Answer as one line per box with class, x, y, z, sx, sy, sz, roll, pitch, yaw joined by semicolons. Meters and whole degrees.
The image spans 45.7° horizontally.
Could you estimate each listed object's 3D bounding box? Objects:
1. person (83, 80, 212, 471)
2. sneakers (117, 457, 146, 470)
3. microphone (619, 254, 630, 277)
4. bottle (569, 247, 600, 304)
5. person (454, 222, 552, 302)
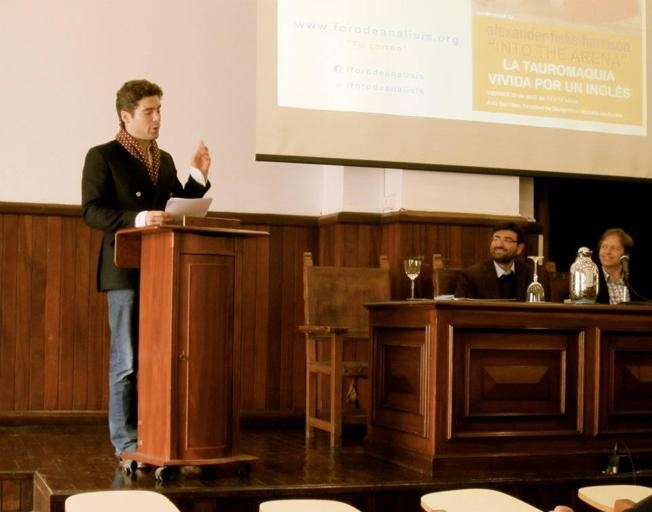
person;-0.933;0.077;4.000;0.575;1.958;0.537;-4;6;-37
sneakers;-0.961;1.022;3.798;0.125;0.071;0.059;7;-25;-4
microphone;1.680;0.065;4.332;0.030;0.135;0.258;2;6;25
bottle;1.437;0.102;4.299;0.143;0.303;0.192;1;5;19
person;1.174;0.139;5.131;0.657;0.635;0.326;3;-24;2
